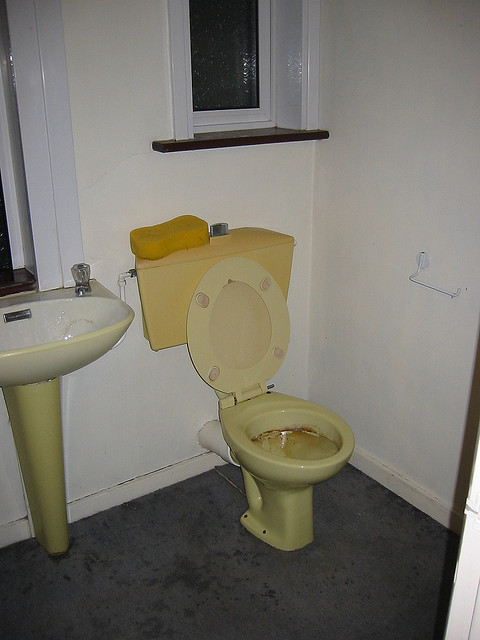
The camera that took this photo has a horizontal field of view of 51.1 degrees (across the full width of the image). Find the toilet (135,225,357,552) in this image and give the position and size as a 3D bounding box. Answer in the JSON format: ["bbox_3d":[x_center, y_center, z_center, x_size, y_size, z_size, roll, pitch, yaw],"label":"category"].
[{"bbox_3d":[0.058,0.205,1.533,0.472,0.892,0.703,-14,22,-30],"label":"toilet"}]

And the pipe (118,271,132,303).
[{"bbox_3d":[-0.350,-0.102,1.510,0.032,0.117,0.021,-20,47,-24],"label":"pipe"}]

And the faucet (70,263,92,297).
[{"bbox_3d":[-0.438,-0.109,1.373,0.045,0.096,0.053,-19,41,-30],"label":"faucet"}]

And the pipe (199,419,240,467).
[{"bbox_3d":[-0.061,0.428,1.786,0.114,0.173,0.146,-21,35,-39],"label":"pipe"}]
